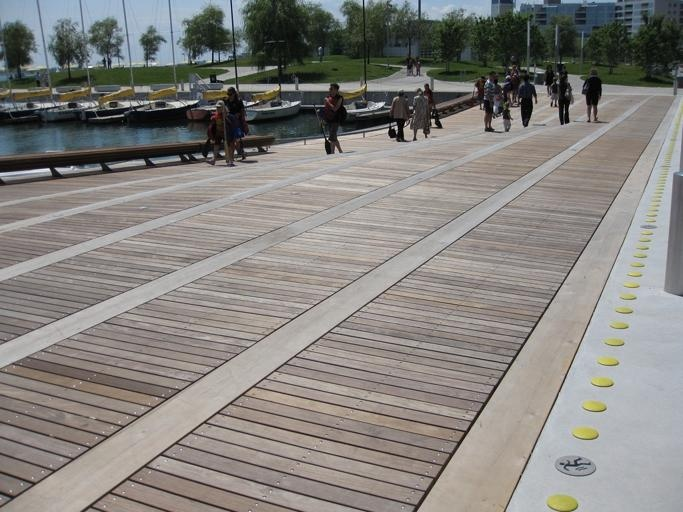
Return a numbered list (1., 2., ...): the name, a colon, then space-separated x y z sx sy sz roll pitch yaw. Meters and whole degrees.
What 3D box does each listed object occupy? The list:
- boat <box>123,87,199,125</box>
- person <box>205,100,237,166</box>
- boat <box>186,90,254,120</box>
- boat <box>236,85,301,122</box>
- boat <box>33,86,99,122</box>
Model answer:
1. boat: -19.280 -15.575 59.169 6.270 3.716 7.325 5 13 32
2. person: -3.110 -3.235 14.856 1.004 1.610 0.777 2 17 -4
3. boat: -11.075 -14.306 58.351 3.814 1.653 10.980 11 26 30
4. boat: -6.940 -15.330 56.475 3.551 2.530 7.297 21 30 32
5. boat: -30.038 -17.685 64.388 4.007 3.188 8.058 34 26 -7
